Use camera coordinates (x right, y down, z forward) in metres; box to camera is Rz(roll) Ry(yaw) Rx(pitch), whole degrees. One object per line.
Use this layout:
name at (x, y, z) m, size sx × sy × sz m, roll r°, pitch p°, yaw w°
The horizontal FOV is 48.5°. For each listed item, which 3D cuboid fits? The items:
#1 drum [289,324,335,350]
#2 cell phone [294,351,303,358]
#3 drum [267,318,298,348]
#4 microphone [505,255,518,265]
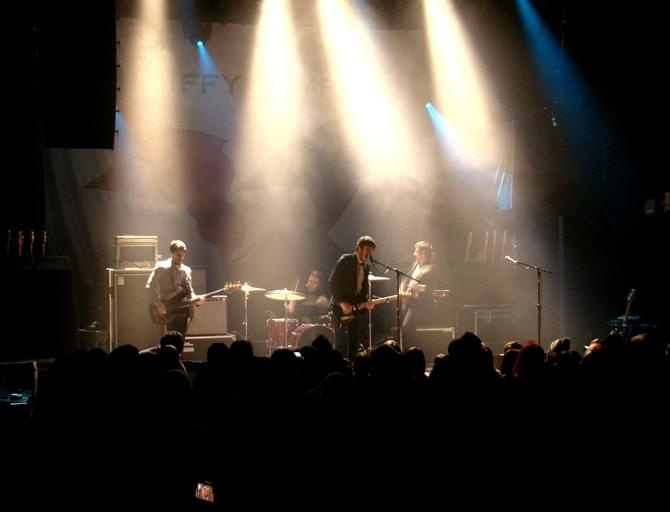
drum at (-0.262, 0.902, 8.260) m, size 0.423 × 0.444 × 0.230 m, roll 0°, pitch 1°, yaw -16°
cell phone at (-0.288, 0.778, 5.812) m, size 0.073 × 0.022 × 0.078 m, roll 2°, pitch -1°, yaw -7°
drum at (-0.673, 1.003, 9.622) m, size 0.376 × 0.397 × 0.387 m, roll 0°, pitch -7°, yaw -1°
microphone at (2.304, 0.061, 9.756) m, size 0.290 × 0.084 × 0.068 m, roll 9°, pitch 24°, yaw 41°
